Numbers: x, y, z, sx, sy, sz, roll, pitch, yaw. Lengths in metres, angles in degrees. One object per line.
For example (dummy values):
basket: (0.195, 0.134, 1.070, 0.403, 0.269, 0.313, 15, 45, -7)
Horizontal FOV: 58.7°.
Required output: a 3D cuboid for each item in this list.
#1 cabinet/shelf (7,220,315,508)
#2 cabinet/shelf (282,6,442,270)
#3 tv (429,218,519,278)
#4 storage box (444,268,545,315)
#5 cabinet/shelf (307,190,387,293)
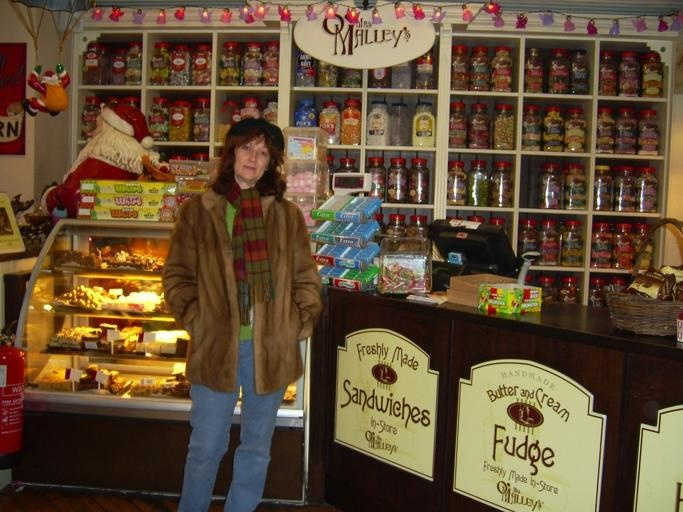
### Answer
cabinet/shelf: (-0.906, 0.592, 3.121, 1.466, 1.449, 0.526, 1, -1, 7)
cabinet/shelf: (0.126, -1.189, 4.662, 1.138, 1.299, 0.418, 1, 10, 5)
tv: (0.739, -0.026, 3.586, 0.394, 0.371, 0.245, 10, 17, 33)
storage box: (0.766, 0.181, 3.045, 0.358, 0.144, 0.432, 0, 6, -28)
cabinet/shelf: (0.032, -0.067, 3.398, 0.219, 0.511, 0.430, -10, 10, -39)
